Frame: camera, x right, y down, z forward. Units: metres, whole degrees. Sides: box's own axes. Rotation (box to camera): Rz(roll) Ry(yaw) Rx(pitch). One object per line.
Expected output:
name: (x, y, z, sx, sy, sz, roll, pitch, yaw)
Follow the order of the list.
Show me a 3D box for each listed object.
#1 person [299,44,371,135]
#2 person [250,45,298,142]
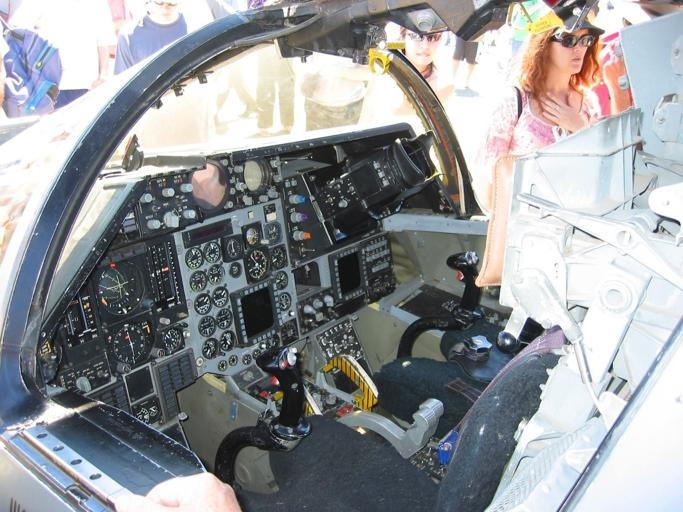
person: (-0.061, -1.843, 5.992, 0.660, 0.737, 0.602, -11, 20, -19)
person: (-0.756, -1.892, 6.030, 0.494, 0.926, 0.281, -5, 18, -4)
